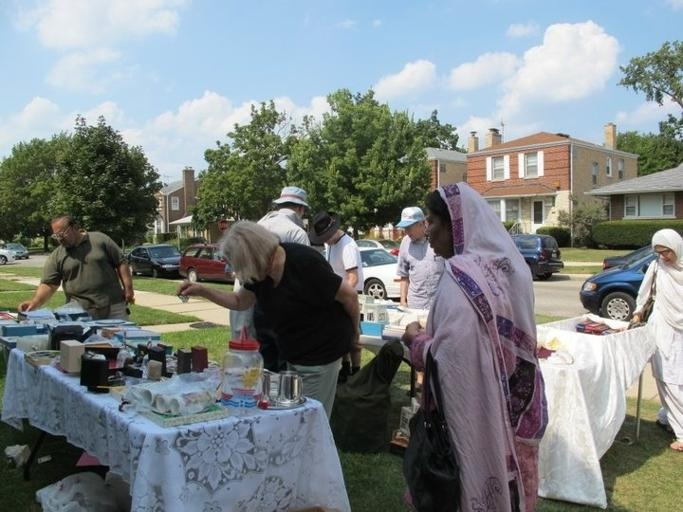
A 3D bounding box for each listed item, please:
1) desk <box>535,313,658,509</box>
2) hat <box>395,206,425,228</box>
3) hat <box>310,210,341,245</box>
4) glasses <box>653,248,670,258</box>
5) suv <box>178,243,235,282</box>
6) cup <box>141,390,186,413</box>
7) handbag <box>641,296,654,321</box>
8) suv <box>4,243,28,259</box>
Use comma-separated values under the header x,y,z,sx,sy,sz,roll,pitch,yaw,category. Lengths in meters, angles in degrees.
x,y,z,sx,sy,sz,roll,pitch,yaw,category
2.313,1.397,5.594,0.992,0.645,1.637,-1,-1,37,desk
0.862,-0.476,7.222,0.220,0.195,0.333,4,13,45,hat
-0.200,-0.292,7.056,0.370,0.339,0.146,-36,-41,11,hat
3.393,-0.045,6.230,0.116,0.056,0.092,41,-39,-11,glasses
-3.959,0.223,17.108,1.320,1.276,2.890,0,-1,-41,suv
-1.127,0.920,3.788,0.193,0.228,0.086,-3,-15,14,cup
3.385,0.558,6.537,0.187,0.281,0.071,2,13,-38,handbag
-22.902,-0.432,41.870,0.999,0.785,2.180,0,-2,-37,suv
